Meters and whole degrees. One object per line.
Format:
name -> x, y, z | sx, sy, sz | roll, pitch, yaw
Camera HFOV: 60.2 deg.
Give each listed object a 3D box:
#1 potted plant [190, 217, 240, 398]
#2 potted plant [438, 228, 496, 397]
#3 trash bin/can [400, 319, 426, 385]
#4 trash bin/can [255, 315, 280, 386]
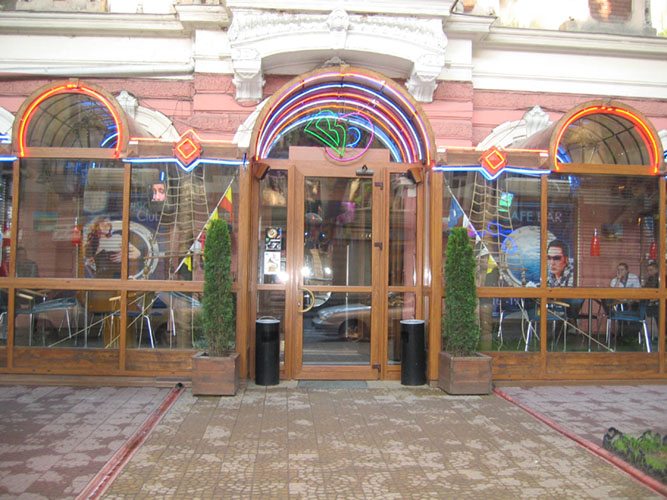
potted plant -> -1.741, 0.784, 8.344 | 0.676, 2.466, 0.956 | -1, 8, -13
potted plant -> 1.981, 0.890, 8.493 | 0.737, 2.419, 0.736 | 1, 8, 2
trash bin/can -> 1.247, 1.572, 8.770 | 0.414, 0.985, 0.272 | 1, 8, -1
trash bin/can -> -0.997, 1.532, 8.630 | 0.369, 0.976, 0.287 | 0, 8, -7
